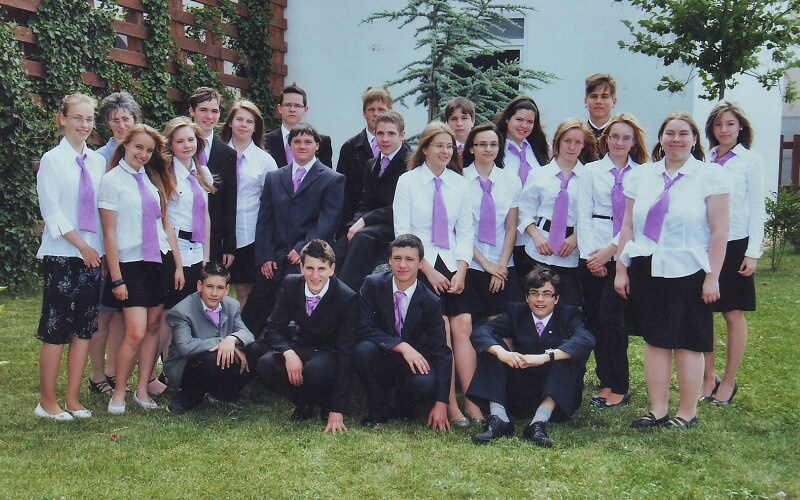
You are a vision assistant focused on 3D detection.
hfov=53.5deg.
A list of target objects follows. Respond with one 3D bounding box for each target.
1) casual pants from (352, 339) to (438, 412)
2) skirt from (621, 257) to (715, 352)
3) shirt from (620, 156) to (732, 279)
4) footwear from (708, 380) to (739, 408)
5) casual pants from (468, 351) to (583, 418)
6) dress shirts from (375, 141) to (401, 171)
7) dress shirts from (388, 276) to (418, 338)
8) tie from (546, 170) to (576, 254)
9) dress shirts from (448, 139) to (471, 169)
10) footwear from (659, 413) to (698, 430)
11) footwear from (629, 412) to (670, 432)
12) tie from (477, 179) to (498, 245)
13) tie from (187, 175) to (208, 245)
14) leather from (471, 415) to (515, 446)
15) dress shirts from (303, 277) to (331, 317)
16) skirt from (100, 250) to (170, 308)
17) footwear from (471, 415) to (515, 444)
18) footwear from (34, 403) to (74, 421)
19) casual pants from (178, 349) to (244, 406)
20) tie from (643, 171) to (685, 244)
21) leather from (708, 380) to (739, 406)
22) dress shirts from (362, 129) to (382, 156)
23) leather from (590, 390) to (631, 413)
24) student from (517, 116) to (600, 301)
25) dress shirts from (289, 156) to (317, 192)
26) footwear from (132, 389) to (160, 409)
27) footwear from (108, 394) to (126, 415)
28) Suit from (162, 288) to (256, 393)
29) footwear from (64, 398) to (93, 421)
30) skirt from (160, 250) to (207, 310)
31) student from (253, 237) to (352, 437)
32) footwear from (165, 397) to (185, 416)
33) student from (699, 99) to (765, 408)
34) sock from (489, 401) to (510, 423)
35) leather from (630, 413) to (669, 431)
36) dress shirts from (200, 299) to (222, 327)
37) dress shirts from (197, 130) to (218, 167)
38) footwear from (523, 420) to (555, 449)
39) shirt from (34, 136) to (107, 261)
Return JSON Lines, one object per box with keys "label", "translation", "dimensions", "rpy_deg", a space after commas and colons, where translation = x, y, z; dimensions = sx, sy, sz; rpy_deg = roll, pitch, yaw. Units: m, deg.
{"label": "casual pants", "translation": [-0.012, 1.092, 7.058], "dimensions": [0.609, 0.886, 0.521], "rpy_deg": [1, -18, -32]}
{"label": "skirt", "translation": [2.449, 0.445, 7.109], "dimensions": [0.493, 0.778, 0.848], "rpy_deg": [-2, 5, -36]}
{"label": "shirt", "translation": [2.414, -0.272, 6.914], "dimensions": [1.094, 1.092, 0.628], "rpy_deg": [3, 4, 44]}
{"label": "footwear", "translation": [3.067, 1.383, 7.478], "dimensions": [0.142, 0.099, 0.416], "rpy_deg": [-6, 21, 38]}
{"label": "casual pants", "translation": [1.130, 1.211, 7.010], "dimensions": [0.978, 0.629, 0.359], "rpy_deg": [0, 2, 12]}
{"label": "dress shirts", "translation": [-0.095, -0.943, 7.938], "dimensions": [0.282, 0.133, 0.376], "rpy_deg": [-6, 5, 3]}
{"label": "dress shirts", "translation": [0.036, 0.486, 7.089], "dimensions": [0.324, 0.432, 0.112], "rpy_deg": [-1, -9, 31]}
{"label": "tie", "translation": [1.553, -0.353, 7.595], "dimensions": [0.159, 0.796, 0.251], "rpy_deg": [1, 2, 33]}
{"label": "dress shirts", "translation": [0.578, -0.907, 7.639], "dimensions": [0.229, 0.281, 0.105], "rpy_deg": [1, -7, -4]}
{"label": "footwear", "translation": [2.444, 1.497, 6.895], "dimensions": [0.278, 0.075, 0.119], "rpy_deg": [4, -9, -13]}
{"label": "footwear", "translation": [2.205, 1.510, 6.947], "dimensions": [0.317, 0.100, 0.136], "rpy_deg": [2, -8, -13]}
{"label": "tie", "translation": [0.836, -0.371, 7.538], "dimensions": [0.162, 0.643, 0.128], "rpy_deg": [0, 2, 5]}
{"label": "tie", "translation": [-1.941, -0.422, 7.577], "dimensions": [0.119, 0.697, 0.164], "rpy_deg": [-11, -10, 35]}
{"label": "leather", "translation": [0.812, 1.541, 6.854], "dimensions": [0.441, 0.175, 0.156], "rpy_deg": [3, -6, -43]}
{"label": "dress shirts", "translation": [-0.741, 0.424, 7.189], "dimensions": [0.229, 0.303, 0.171], "rpy_deg": [5, 2, 8]}
{"label": "skirt", "translation": [-2.342, 0.269, 7.503], "dimensions": [0.539, 0.543, 0.831], "rpy_deg": [12, -6, -28]}
{"label": "footwear", "translation": [0.823, 1.533, 6.845], "dimensions": [0.447, 0.178, 0.155], "rpy_deg": [3, -6, -43]}
{"label": "footwear", "translation": [-3.010, 1.420, 6.966], "dimensions": [0.360, 0.125, 0.129], "rpy_deg": [1, -3, 5]}
{"label": "casual pants", "translation": [-1.715, 1.195, 7.237], "dimensions": [0.547, 0.518, 0.225], "rpy_deg": [15, 25, -37]}
{"label": "tie", "translation": [2.288, -0.383, 6.930], "dimensions": [0.233, 0.700, 0.077], "rpy_deg": [10, -14, 33]}
{"label": "leather", "translation": [3.083, 1.327, 7.505], "dimensions": [0.131, 0.107, 0.431], "rpy_deg": [-1, 21, 38]}
{"label": "dress shirts", "translation": [-0.272, -1.136, 8.371], "dimensions": [0.179, 0.232, 0.085], "rpy_deg": [-5, 14, 33]}
{"label": "leather", "translation": [1.996, 1.437, 7.479], "dimensions": [0.309, 0.109, 0.150], "rpy_deg": [5, -7, -8]}
{"label": "student", "translation": [1.577, -0.027, 7.727], "dimensions": [0.847, 2.261, 0.620], "rpy_deg": [0, 14, 15]}
{"label": "dress shirts", "translation": [-0.966, -0.759, 7.831], "dimensions": [0.224, 0.295, 0.108], "rpy_deg": [2, 29, -12]}
{"label": "footwear", "translation": [-2.316, 1.380, 7.297], "dimensions": [0.266, 0.101, 0.112], "rpy_deg": [5, -2, 28]}
{"label": "footwear", "translation": [-2.543, 1.393, 7.140], "dimensions": [0.161, 0.140, 0.197], "rpy_deg": [-1, 1, -19]}
{"label": "Suit", "translation": [-1.747, 0.836, 7.429], "dimensions": [0.735, 0.808, 0.802], "rpy_deg": [-6, 16, -41]}
{"label": "footwear", "translation": [-2.829, 1.411, 7.006], "dimensions": [0.296, 0.109, 0.117], "rpy_deg": [3, 2, 44]}
{"label": "skirt", "translation": [-2.039, 0.278, 7.448], "dimensions": [0.415, 0.503, 0.155], "rpy_deg": [-3, 16, -37]}
{"label": "student", "translation": [-0.827, 0.733, 7.125], "dimensions": [0.894, 1.644, 0.394], "rpy_deg": [0, 2, 21]}
{"label": "footwear", "translation": [-2.010, 1.408, 7.163], "dimensions": [0.120, 0.053, 0.155], "rpy_deg": [16, 1, -17]}
{"label": "student", "translation": [3.020, 0.014, 7.434], "dimensions": [0.891, 2.735, 0.787], "rpy_deg": [2, 2, 14]}
{"label": "sock", "translation": [0.871, 1.402, 6.873], "dimensions": [0.110, 0.083, 0.254], "rpy_deg": [-10, 6, -4]}
{"label": "leather", "translation": [2.196, 1.508, 6.956], "dimensions": [0.331, 0.100, 0.133], "rpy_deg": [2, -6, -16]}
{"label": "dress shirts", "translation": [-1.724, 0.590, 7.321], "dimensions": [0.166, 0.217, 0.097], "rpy_deg": [0, -4, -22]}
{"label": "dress shirts", "translation": [-1.894, -1.002, 7.785], "dimensions": [0.188, 0.240, 0.090], "rpy_deg": [1, -15, 0]}
{"label": "footwear", "translation": [1.180, 1.551, 6.707], "dimensions": [0.245, 0.178, 0.217], "rpy_deg": [0, 1, 4]}
{"label": "shirt", "translation": [-2.875, -0.466, 6.979], "dimensions": [0.555, 1.055, 0.319], "rpy_deg": [-1, 2, -22]}
